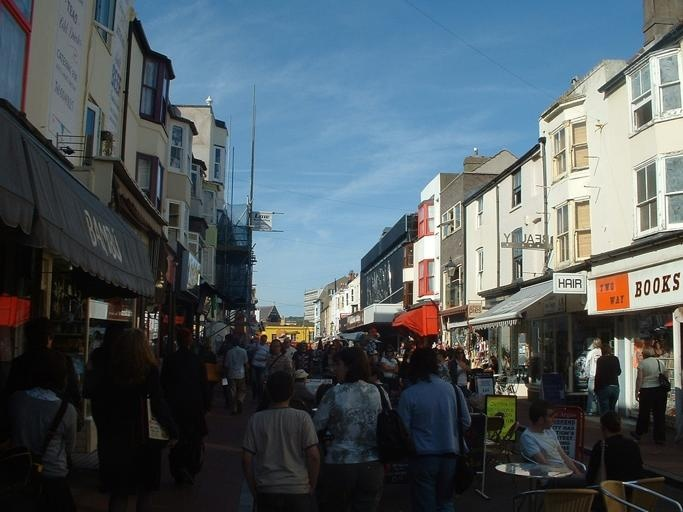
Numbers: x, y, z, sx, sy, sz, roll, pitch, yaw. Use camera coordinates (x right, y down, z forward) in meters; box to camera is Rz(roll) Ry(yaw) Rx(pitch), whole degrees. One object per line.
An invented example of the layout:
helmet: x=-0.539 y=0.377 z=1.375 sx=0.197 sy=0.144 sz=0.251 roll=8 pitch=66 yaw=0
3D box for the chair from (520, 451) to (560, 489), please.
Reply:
chair: x=2.590 y=2.795 z=9.728 sx=0.532 sy=0.628 sz=0.556 roll=-1 pitch=-18 yaw=-2

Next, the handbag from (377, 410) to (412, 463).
handbag: x=0.581 y=2.015 z=8.262 sx=0.400 sy=0.589 sz=0.230 roll=2 pitch=-13 yaw=4

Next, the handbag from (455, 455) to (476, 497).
handbag: x=1.469 y=2.669 z=8.924 sx=0.250 sy=0.552 sz=0.213 roll=0 pitch=-23 yaw=-10

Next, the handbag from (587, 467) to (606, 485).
handbag: x=3.233 y=2.796 z=9.352 sx=0.046 sy=0.218 sz=0.190 roll=14 pitch=-5 yaw=-27

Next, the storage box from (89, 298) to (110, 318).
storage box: x=-4.712 y=1.012 z=14.346 sx=0.081 sy=0.358 sz=0.362 roll=6 pitch=-6 yaw=-1

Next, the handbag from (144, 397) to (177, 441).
handbag: x=-2.199 y=1.969 z=8.867 sx=0.249 sy=0.698 sz=0.683 roll=-5 pitch=2 yaw=-21
